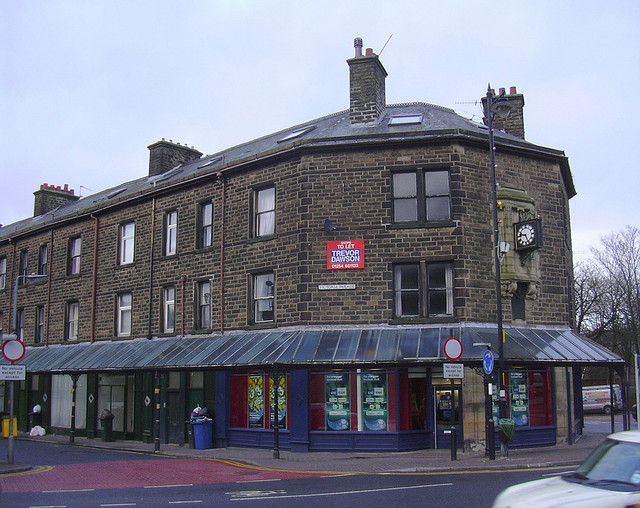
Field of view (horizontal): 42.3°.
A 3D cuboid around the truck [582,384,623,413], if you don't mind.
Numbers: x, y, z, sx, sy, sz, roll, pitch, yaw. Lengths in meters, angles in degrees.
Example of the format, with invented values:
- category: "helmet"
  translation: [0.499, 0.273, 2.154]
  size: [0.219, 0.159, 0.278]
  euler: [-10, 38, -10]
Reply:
- category: "truck"
  translation: [17.621, 9.164, 51.946]
  size: [2.129, 1.681, 2.069]
  euler: [-6, -14, 16]

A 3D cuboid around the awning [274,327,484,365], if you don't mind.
- category: "awning"
  translation: [1.931, 3.237, 28.986]
  size: [6.604, 1.555, 1.539]
  euler: [-4, -14, 9]

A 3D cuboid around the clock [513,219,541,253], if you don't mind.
- category: "clock"
  translation: [7.583, -0.586, 30.384]
  size: [0.350, 0.993, 0.984]
  euler: [12, -20, -36]

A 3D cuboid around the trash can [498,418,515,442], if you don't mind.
- category: "trash can"
  translation: [6.178, 5.854, 27.502]
  size: [0.575, 0.714, 0.486]
  euler: [1, -13, -11]

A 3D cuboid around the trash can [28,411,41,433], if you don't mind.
- category: "trash can"
  translation: [-14.096, 8.244, 40.534]
  size: [0.436, 0.919, 1.312]
  euler: [8, -17, -37]

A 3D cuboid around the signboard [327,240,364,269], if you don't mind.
- category: "signboard"
  translation: [0.952, 0.126, 30.412]
  size: [1.002, 0.872, 0.109]
  euler: [0, -15, 7]

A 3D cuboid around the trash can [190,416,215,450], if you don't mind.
- category: "trash can"
  translation: [-4.699, 7.009, 32.097]
  size: [0.962, 1.430, 1.004]
  euler: [-4, -9, 21]

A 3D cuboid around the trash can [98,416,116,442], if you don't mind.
- category: "trash can"
  translation: [-9.281, 7.672, 36.090]
  size: [0.627, 1.094, 0.929]
  euler: [1, -14, -13]
